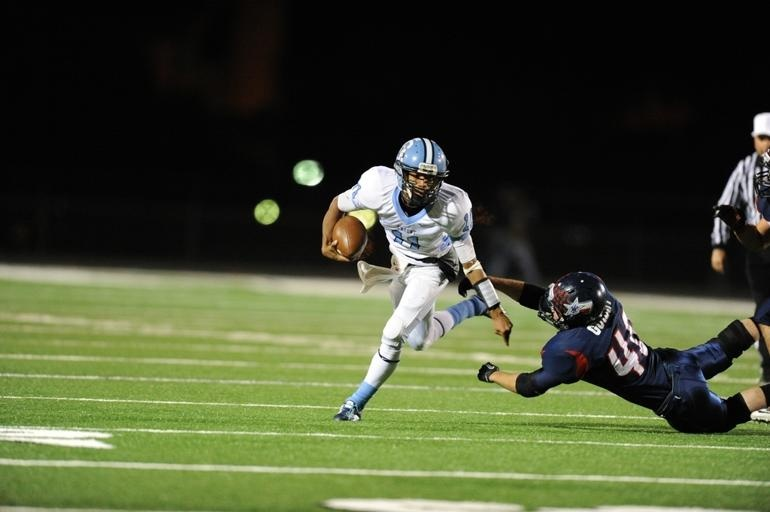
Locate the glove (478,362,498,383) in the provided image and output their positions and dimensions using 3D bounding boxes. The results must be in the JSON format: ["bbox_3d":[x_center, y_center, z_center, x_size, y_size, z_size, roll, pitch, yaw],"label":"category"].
[{"bbox_3d":[0.913,1.040,8.115,0.092,0.188,0.147,39,26,-49],"label":"glove"}]

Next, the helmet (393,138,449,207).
[{"bbox_3d":[0.297,-0.804,8.314,0.494,0.543,0.597,5,28,-8],"label":"helmet"}]

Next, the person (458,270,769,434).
[{"bbox_3d":[1.726,0.673,7.920,2.912,1.009,1.040,9,30,12],"label":"person"}]

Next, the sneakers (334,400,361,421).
[{"bbox_3d":[-0.310,1.359,8.101,0.110,0.129,0.300,9,4,5],"label":"sneakers"}]

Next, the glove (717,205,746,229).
[{"bbox_3d":[3.081,-0.349,8.214,0.201,0.101,0.240,17,16,-40],"label":"glove"}]

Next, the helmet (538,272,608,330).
[{"bbox_3d":[1.618,0.361,7.794,0.410,0.405,0.548,-15,17,-38],"label":"helmet"}]

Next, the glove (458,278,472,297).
[{"bbox_3d":[0.746,0.298,8.625,0.120,0.157,0.092,24,30,21],"label":"glove"}]
